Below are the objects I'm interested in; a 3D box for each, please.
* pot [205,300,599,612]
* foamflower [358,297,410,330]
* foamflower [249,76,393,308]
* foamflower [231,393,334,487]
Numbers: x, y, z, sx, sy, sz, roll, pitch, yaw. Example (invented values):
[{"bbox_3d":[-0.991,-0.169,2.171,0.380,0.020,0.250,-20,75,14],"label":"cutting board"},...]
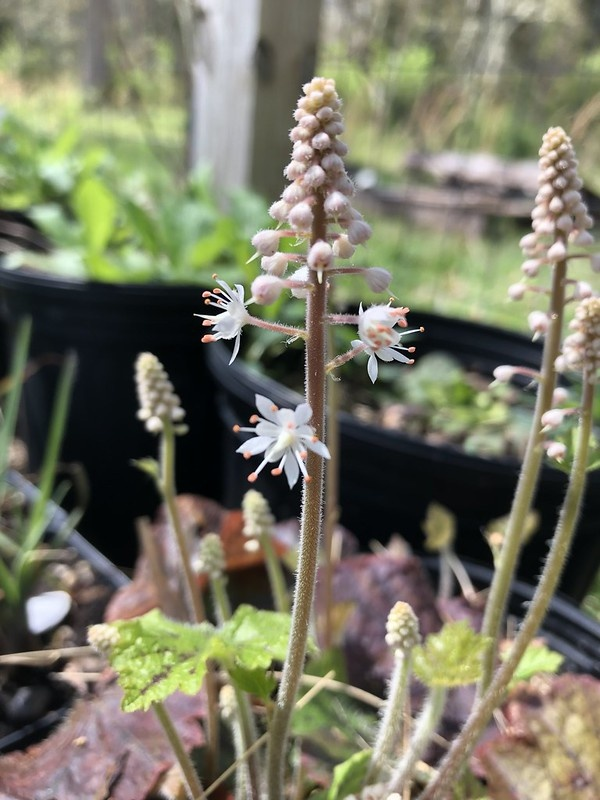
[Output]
[{"bbox_3d":[0.291,0.149,2.136,0.909,0.574,0.853,4,12,-1],"label":"pot"},{"bbox_3d":[0.090,-0.094,0.824,0.047,0.020,0.042,-11,18,-27],"label":"foamflower"},{"bbox_3d":[0.033,-0.216,0.827,0.149,0.241,0.218,6,26,4],"label":"foamflower"},{"bbox_3d":[0.003,0.036,0.822,0.128,0.046,0.139,2,16,34],"label":"foamflower"}]
